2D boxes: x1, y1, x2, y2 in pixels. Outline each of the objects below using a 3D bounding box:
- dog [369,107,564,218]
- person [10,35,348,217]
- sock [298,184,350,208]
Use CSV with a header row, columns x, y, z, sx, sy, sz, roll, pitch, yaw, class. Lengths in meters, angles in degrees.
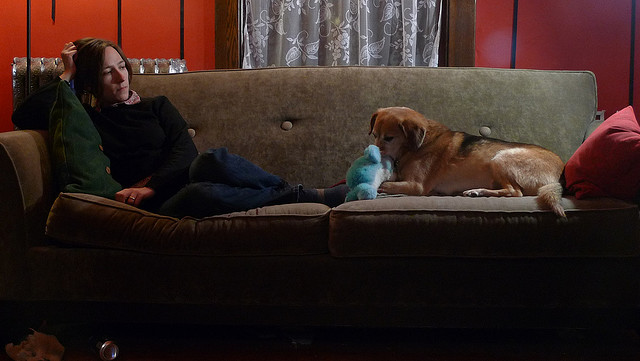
x,y,z,sx,sy,sz,roll,pitch,yaw,class
0.741,-0.111,2.691,1.153,0.473,0.436,3,-3,13,dog
-0.677,-0.263,2.838,1.820,0.934,0.621,3,11,19,person
0.020,0.068,2.751,0.194,0.054,0.124,-4,23,-3,sock
